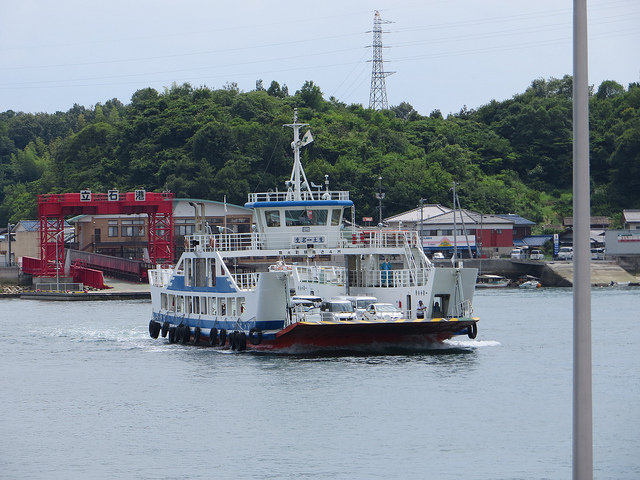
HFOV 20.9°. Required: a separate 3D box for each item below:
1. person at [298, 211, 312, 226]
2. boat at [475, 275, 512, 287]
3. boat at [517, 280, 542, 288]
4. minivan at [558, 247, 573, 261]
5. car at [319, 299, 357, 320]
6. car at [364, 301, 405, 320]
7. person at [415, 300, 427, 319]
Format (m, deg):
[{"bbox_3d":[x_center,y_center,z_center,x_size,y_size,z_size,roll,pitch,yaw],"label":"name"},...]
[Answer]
[{"bbox_3d":[-0.874,-1.356,101.448,0.606,0.845,0.717,-4,-15,1],"label":"person"},{"bbox_3d":[14.012,3.130,140.254,2.643,0.896,3.534,2,12,9],"label":"boat"},{"bbox_3d":[16.682,3.595,139.277,1.309,0.550,0.784,-7,-4,28],"label":"boat"},{"bbox_3d":[20.296,1.085,143.997,0.915,1.019,1.774,-1,-6,8],"label":"minivan"},{"bbox_3d":[0.978,3.968,97.818,1.064,0.904,1.671,0,-5,-25],"label":"car"},{"bbox_3d":[3.408,4.067,97.866,1.057,0.828,1.699,1,-7,-20],"label":"car"},{"bbox_3d":[5.635,3.903,97.534,0.529,0.964,0.677,-4,13,-16],"label":"person"}]
